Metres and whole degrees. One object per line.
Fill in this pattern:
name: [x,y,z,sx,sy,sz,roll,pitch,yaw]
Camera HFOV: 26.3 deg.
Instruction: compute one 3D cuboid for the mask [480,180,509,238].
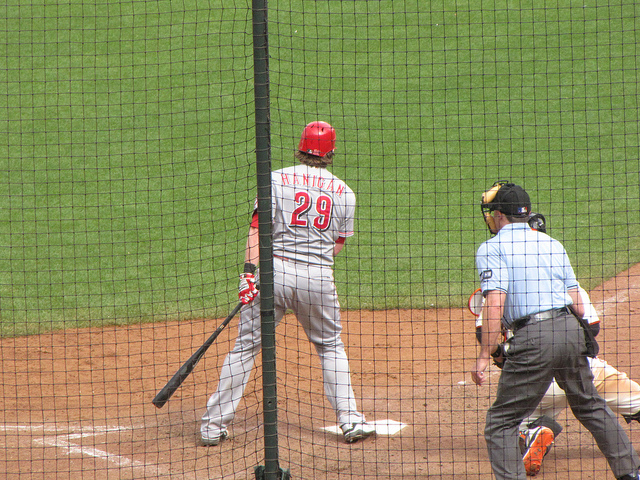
mask: [1.694,-0.328,13.444,0.335,0.251,0.524,-7,-69,-5]
